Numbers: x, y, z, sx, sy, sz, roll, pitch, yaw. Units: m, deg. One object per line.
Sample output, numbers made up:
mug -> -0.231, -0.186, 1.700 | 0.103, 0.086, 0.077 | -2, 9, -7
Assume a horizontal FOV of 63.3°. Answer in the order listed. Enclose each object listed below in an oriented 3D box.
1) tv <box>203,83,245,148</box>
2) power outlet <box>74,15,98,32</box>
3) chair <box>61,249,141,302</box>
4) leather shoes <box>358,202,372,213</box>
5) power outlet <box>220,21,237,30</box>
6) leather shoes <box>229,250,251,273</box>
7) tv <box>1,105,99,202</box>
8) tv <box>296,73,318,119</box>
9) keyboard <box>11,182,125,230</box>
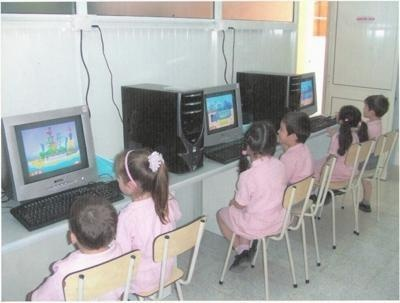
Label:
tv -> 0.171, -0.258, 2.455 | 0.247, 0.450, 0.454 | 2, 10, 38
power outlet -> -0.687, -0.775, 1.972 | 0.081, 0.107, 0.150 | 14, 21, 34
chair -> -0.405, 0.500, 1.309 | 0.189, 0.284, 0.194 | 32, 33, 31
leather shoes -> 1.669, 0.570, 3.341 | 0.058, 0.064, 0.147 | -2, 19, -24
power outlet -> 0.238, -1.111, 2.866 | 0.058, 0.089, 0.251 | 6, 23, 29
leather shoes -> 0.298, 0.817, 2.385 | 0.059, 0.167, 0.117 | 33, 12, -10
tv -> -0.776, 0.027, 1.666 | 0.247, 0.426, 0.445 | 2, 12, 44
tv -> 1.034, -0.587, 3.354 | 0.262, 0.384, 0.216 | -11, 13, -17
keyboard -> -0.646, 0.269, 1.650 | 0.520, 0.060, 0.214 | -13, 45, -45
